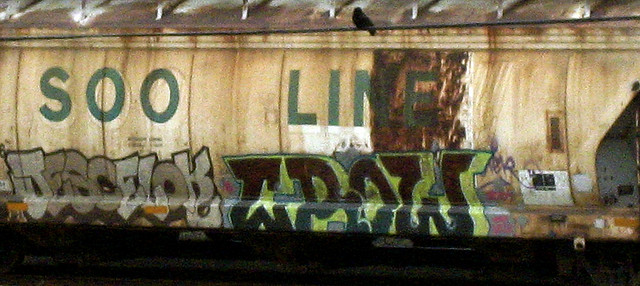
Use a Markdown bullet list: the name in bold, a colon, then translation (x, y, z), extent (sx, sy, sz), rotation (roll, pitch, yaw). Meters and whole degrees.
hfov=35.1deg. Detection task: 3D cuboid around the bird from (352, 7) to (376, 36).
- **bird**: translation (0.841, -2.495, 20.329), extent (0.406, 0.365, 0.280), rotation (0, 4, 1)
